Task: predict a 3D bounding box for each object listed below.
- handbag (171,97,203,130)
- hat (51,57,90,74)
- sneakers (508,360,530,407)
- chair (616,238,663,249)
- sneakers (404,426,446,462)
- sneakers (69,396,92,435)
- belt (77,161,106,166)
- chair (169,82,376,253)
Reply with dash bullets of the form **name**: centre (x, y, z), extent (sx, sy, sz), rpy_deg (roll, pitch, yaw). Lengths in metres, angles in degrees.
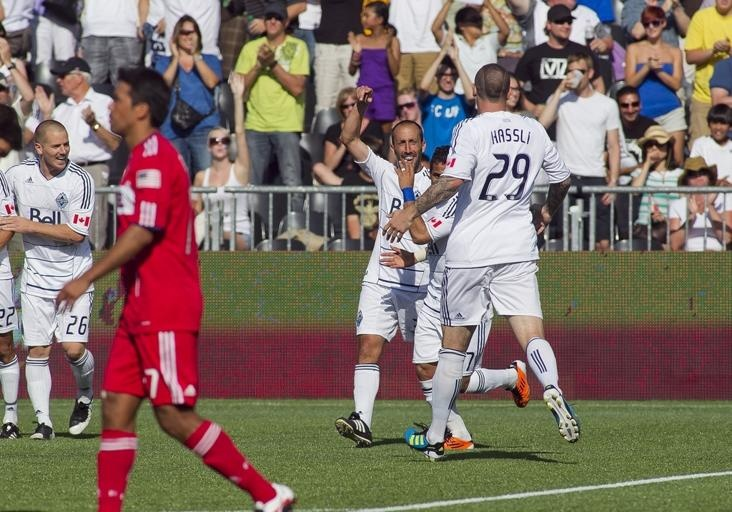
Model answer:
- **handbag**: centre (-2.332, -1.833, 24.322), extent (0.388, 0.227, 0.387), rpy_deg (40, -12, -15)
- **hat**: centre (-3.837, -2.489, 24.522), extent (0.488, 0.288, 0.332), rpy_deg (-1, 0, -7)
- **sneakers**: centre (1.606, 1.424, 20.124), extent (0.179, 0.584, 0.249), rpy_deg (5, 28, 32)
- **chair**: centre (3.289, -0.136, 22.851), extent (0.573, 0.141, 0.106), rpy_deg (1, 2, 2)
- **sneakers**: centre (0.574, 1.930, 19.281), extent (0.454, 0.251, 0.229), rpy_deg (32, 16, 6)
- **sneakers**: centre (-3.116, 1.800, 20.696), extent (0.161, 0.523, 0.193), rpy_deg (6, -9, 8)
- **belt**: centre (-3.564, -1.212, 24.392), extent (0.198, 0.051, 0.194), rpy_deg (-3, 4, -25)
- **chair**: centre (-1.297, -1.172, 23.907), extent (1.744, 1.968, 1.921), rpy_deg (-1, 1, 11)
